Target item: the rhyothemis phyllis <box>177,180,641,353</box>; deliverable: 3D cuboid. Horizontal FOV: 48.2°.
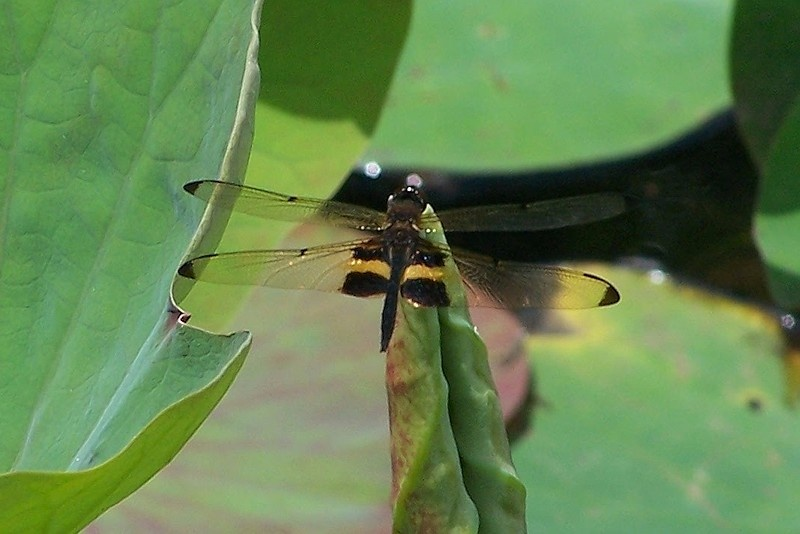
[{"bbox_3d":[0.019,-0.018,1.460,0.505,0.286,0.078,0,21,4],"label":"rhyothemis phyllis"}]
